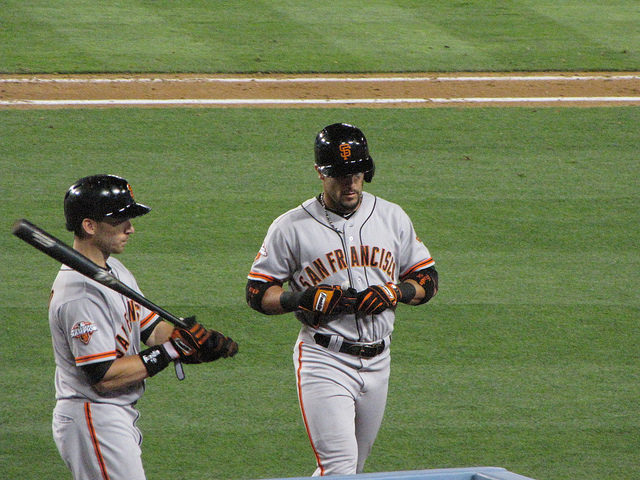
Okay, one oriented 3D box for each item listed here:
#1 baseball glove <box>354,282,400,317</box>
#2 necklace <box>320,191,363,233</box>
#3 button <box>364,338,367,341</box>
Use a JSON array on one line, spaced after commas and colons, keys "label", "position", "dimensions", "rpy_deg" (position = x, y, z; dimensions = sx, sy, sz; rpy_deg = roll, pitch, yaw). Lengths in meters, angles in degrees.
[{"label": "baseball glove", "position": [0.671, 0.594, 14.345], "dimensions": [0.525, 0.304, 0.155], "rpy_deg": [-19, 9, 40]}, {"label": "necklace", "position": [0.188, -0.319, 14.414], "dimensions": [0.540, 0.403, 0.105], "rpy_deg": [-10, -22, -14]}, {"label": "button", "position": [0.506, 1.102, 14.407], "dimensions": [0.029, 0.029, 0.006], "rpy_deg": [0, 22, -15]}]
